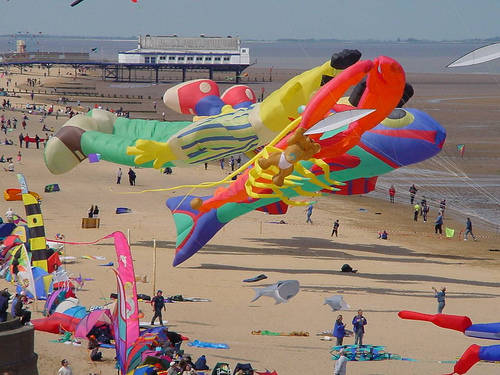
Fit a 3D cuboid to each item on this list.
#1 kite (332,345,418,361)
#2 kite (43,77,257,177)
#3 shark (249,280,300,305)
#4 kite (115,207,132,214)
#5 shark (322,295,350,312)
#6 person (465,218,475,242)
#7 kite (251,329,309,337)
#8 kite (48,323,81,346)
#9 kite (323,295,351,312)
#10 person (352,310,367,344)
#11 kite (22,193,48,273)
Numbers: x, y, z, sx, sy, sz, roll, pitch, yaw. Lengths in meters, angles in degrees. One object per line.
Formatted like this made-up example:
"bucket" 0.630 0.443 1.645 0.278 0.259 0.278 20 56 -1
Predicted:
"kite" 4.282 5.950 32.781 1.973 0.344 1.068 0 3 2
"kite" -5.192 -2.648 41.434 7.171 1.860 5.564 -8 19 10
"shark" 1.093 4.274 36.839 1.975 0.925 1.666 0 5 22
"kite" -6.899 1.271 49.363 0.885 0.300 1.103 4 3 4
"shark" 3.540 4.595 36.272 0.897 0.408 0.571 3 5 12
"person" 11.855 2.217 48.279 0.506 1.196 1.759 5 3 12
"kite" 1.175 5.469 34.317 2.179 0.157 0.568 3 3 0
"kite" -6.544 5.270 32.255 0.892 0.409 0.674 24 22 32
"kite" 3.506 4.584 36.217 0.879 0.333 0.592 2 10 18
"person" 4.100 5.082 33.610 0.473 1.280 0.872 4 3 7
"kite" -8.345 1.777 35.685 0.911 3.193 0.380 -6 4 25
